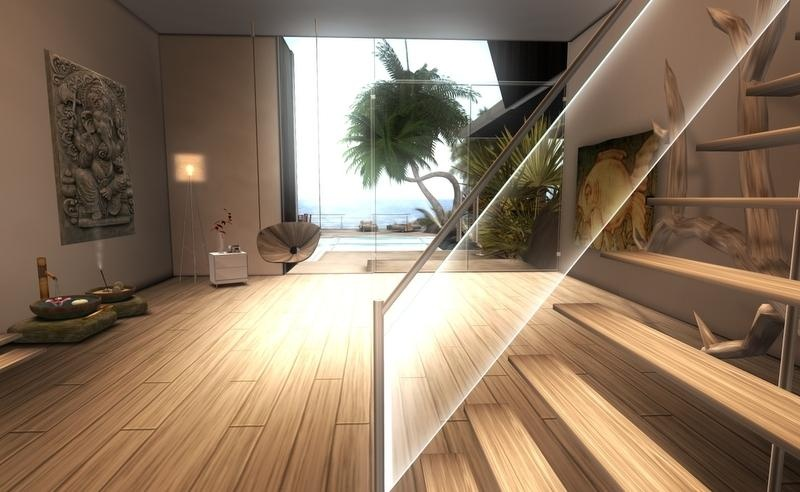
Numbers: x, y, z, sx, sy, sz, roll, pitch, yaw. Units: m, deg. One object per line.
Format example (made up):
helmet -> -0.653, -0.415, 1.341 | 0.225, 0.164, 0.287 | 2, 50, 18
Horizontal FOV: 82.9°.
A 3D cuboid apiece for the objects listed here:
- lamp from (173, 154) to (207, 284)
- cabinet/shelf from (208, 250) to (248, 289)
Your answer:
lamp -> -3.157, -0.481, 6.714 | 0.521, 1.821, 0.200 | -1, 11, 1
cabinet/shelf -> -2.365, 0.277, 6.310 | 0.604, 0.573, 0.434 | -1, 2, -16
